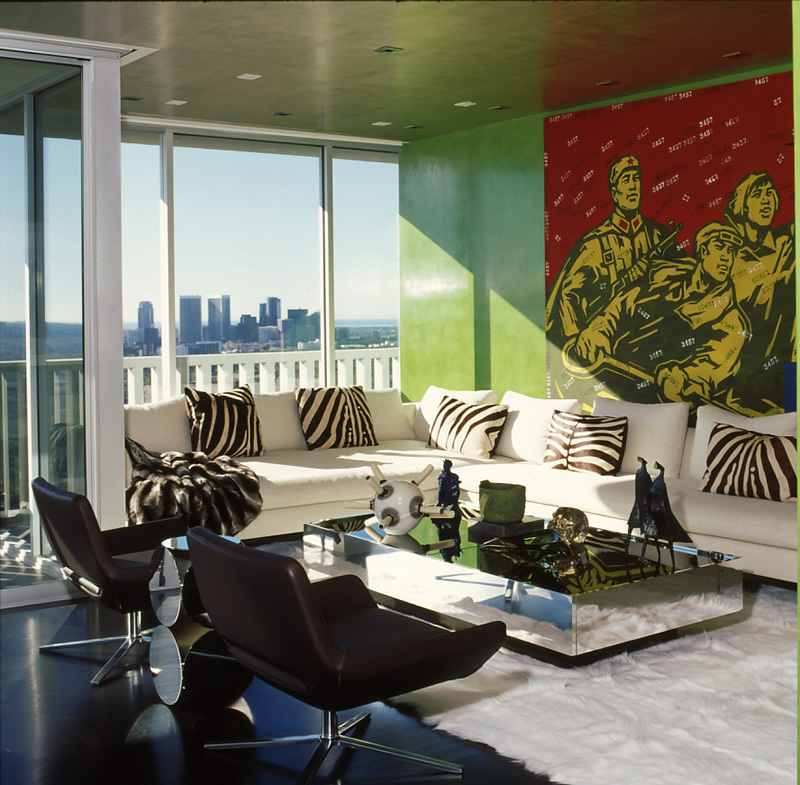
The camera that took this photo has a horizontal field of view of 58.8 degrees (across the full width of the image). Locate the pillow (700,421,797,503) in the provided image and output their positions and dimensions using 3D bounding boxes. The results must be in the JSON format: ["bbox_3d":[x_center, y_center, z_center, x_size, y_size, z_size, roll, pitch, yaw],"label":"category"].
[{"bbox_3d":[1.980,0.391,3.984,0.203,0.342,0.563,-1,0,-37],"label":"pillow"}]

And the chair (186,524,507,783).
[{"bbox_3d":[-0.205,0.782,2.196,0.699,0.763,0.768,-2,2,-39],"label":"chair"}]

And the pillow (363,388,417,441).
[{"bbox_3d":[-0.092,0.218,6.091,0.437,0.406,0.167,-9,-19,-36],"label":"pillow"}]

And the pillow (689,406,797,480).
[{"bbox_3d":[2.039,0.281,4.335,0.151,0.448,0.491,10,-10,-23],"label":"pillow"}]

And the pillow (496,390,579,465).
[{"bbox_3d":[1.035,0.274,5.324,0.236,0.423,0.581,1,0,-34],"label":"pillow"}]

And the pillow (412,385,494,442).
[{"bbox_3d":[0.445,0.211,6.071,0.507,0.491,0.222,1,-22,43],"label":"pillow"}]

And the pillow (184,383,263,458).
[{"bbox_3d":[-1.293,0.212,5.188,0.215,0.472,0.590,-2,-2,43],"label":"pillow"}]

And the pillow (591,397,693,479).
[{"bbox_3d":[1.619,0.310,4.713,0.199,0.399,0.560,-4,3,-38],"label":"pillow"}]
